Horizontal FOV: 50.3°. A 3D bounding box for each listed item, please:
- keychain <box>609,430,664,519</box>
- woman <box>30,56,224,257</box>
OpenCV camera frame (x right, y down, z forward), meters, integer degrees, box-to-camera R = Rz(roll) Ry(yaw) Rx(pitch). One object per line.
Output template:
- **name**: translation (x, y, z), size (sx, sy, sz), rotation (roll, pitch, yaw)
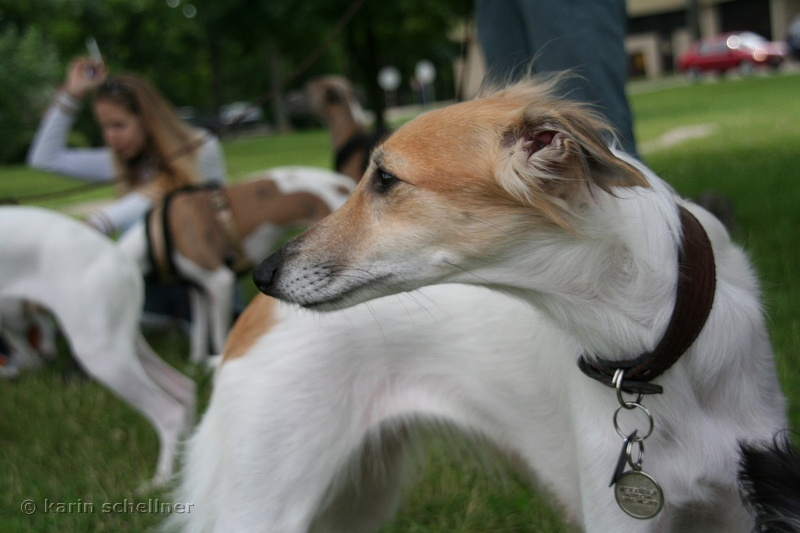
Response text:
- **keychain**: translation (0.961, 0.880, 3.479), size (0.149, 0.383, 0.187), rotation (-22, 23, -32)
- **woman**: translation (-1.430, -0.619, 4.511), size (0.959, 0.924, 0.638), rotation (-10, 18, -39)
